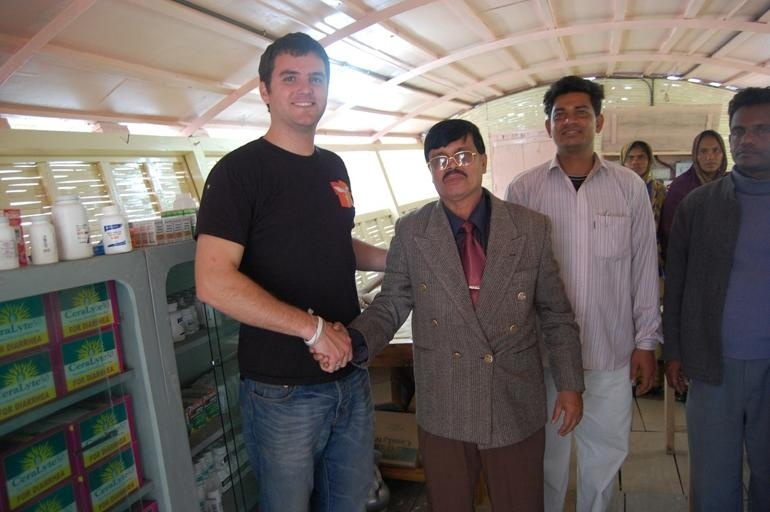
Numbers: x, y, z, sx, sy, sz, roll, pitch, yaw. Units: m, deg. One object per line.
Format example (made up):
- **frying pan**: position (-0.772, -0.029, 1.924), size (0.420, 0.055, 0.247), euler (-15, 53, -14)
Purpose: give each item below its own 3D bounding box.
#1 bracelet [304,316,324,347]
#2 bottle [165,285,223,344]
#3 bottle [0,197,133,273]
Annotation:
- **bracelet**: position (-0.321, 0.358, 2.170), size (0.051, 0.118, 0.108), euler (14, -43, -19)
- **bottle**: position (-1.084, 0.358, 2.653), size (0.105, 0.235, 0.295), euler (9, 2, 24)
- **bottle**: position (-1.541, -0.070, 2.238), size (0.099, 0.207, 0.448), euler (-5, 2, 43)
